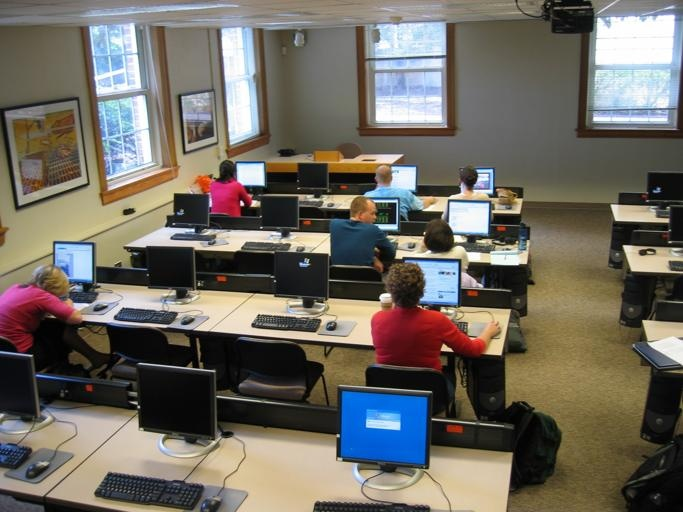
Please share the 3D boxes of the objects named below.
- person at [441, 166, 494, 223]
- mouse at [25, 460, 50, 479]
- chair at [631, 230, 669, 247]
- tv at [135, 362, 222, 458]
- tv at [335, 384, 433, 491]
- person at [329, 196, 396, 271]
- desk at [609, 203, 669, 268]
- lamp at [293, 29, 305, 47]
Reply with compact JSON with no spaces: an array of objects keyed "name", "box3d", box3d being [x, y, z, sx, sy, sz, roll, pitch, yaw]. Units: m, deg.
[{"name":"person","box3d":[1.461,-0.604,6.287,0.683,0.778,0.430,1,11,17]},{"name":"mouse","box3d":[-1.617,1.135,2.901,0.060,0.030,0.095,4,11,17]},{"name":"chair","box3d":[3.175,-0.178,5.672,0.291,0.116,0.198,6,16,24]},{"name":"tv","box3d":[-0.912,0.875,3.031,0.504,0.394,0.357,5,14,15]},{"name":"tv","box3d":[0.240,0.927,2.849,0.534,0.436,0.337,-6,-11,30]},{"name":"person","box3d":[0.229,-0.200,5.362,0.499,0.925,0.576,25,45,23]},{"name":"desk","box3d":[3.716,-0.408,6.765,0.413,0.674,0.472,-31,31,-30]},{"name":"lamp","box3d":[-0.803,-4.067,10.181,0.236,0.312,0.551,-6,18,-2]}]
